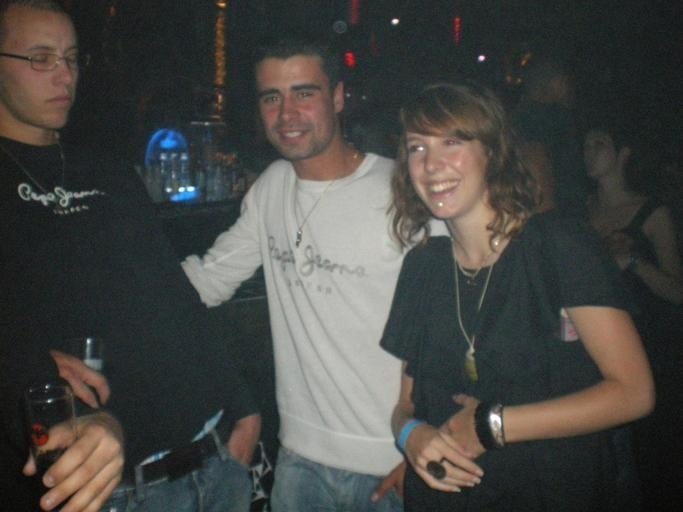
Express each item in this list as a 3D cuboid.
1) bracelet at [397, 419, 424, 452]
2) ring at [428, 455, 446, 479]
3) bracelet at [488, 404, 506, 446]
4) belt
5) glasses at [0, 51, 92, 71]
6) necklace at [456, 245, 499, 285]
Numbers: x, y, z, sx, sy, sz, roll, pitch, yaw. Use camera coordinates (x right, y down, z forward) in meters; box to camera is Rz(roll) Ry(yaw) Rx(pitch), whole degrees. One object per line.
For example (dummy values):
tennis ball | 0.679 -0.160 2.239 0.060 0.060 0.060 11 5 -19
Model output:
bracelet | 0.328 0.872 3.258 0.114 0.151 0.056 9 -28 -18
ring | 0.429 0.967 3.088 0.082 0.081 0.020 -47 -12 21
bracelet | 0.685 0.753 2.971 0.055 0.143 0.129 1 12 20
belt | -0.805 0.961 3.406 0.308 0.160 0.595 4 15 43
glasses | -1.532 -1.012 3.503 0.418 0.115 0.115 -11 12 -22
necklace | 0.639 0.047 3.243 0.148 0.188 0.103 8 1 20
